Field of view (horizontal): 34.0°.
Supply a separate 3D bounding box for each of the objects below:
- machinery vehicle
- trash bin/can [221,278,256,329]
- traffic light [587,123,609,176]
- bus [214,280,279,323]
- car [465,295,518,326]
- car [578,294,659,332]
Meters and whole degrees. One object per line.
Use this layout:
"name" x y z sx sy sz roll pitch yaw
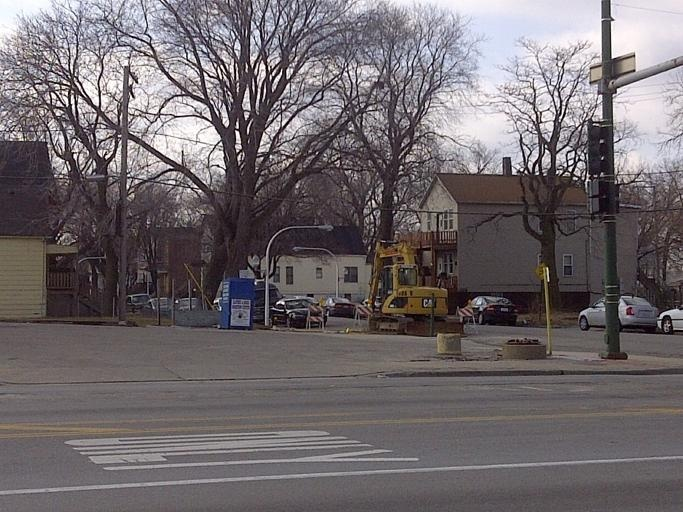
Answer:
"machinery vehicle" 3.687 1.090 51.595 3.379 4.849 4.318 -4 -1 -16
"trash bin/can" -4.742 2.130 50.078 1.444 2.298 1.143 0 -3 -2
"traffic light" 7.906 -3.354 34.373 0.626 1.778 0.618 -1 -3 13
"bus" -4.247 2.357 60.855 2.880 2.400 2.776 -4 -2 -22
"car" 8.170 2.930 60.076 1.642 1.600 3.024 1 -4 -23
"car" 12.228 2.593 49.918 2.222 1.947 4.992 1 0 -25
